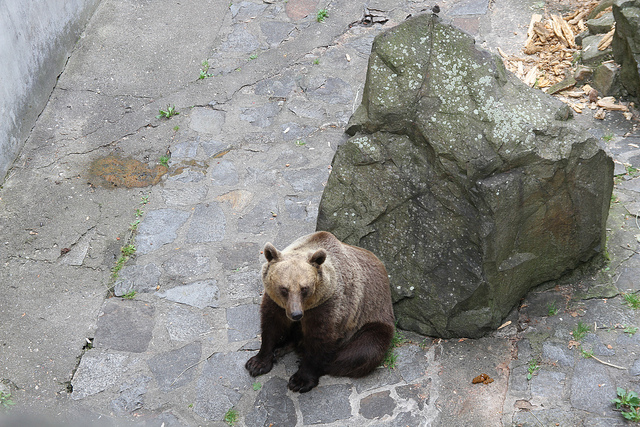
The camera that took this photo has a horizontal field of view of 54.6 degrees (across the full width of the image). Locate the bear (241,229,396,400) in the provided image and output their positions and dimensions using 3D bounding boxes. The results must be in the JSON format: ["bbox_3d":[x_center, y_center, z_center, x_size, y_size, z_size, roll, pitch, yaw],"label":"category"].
[{"bbox_3d":[0.000,0.990,7.584,1.695,1.706,2.177,14,20,29],"label":"bear"}]
